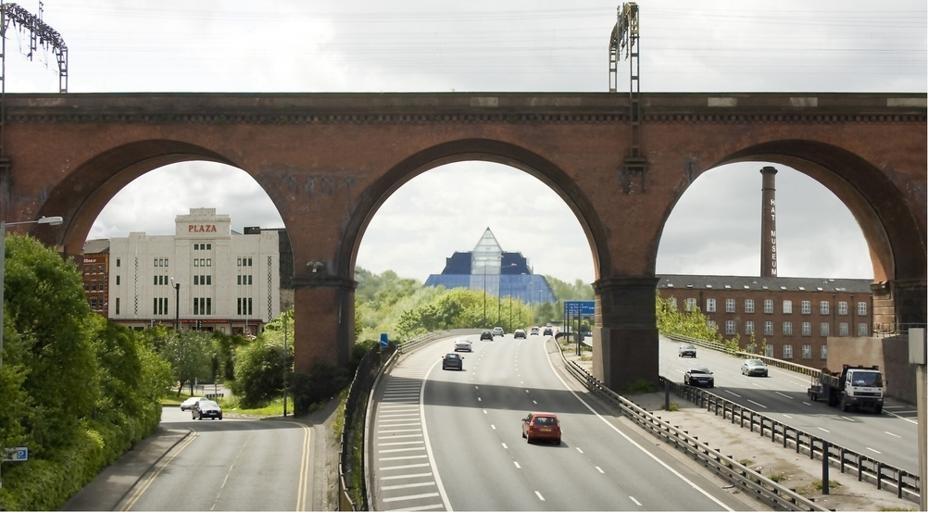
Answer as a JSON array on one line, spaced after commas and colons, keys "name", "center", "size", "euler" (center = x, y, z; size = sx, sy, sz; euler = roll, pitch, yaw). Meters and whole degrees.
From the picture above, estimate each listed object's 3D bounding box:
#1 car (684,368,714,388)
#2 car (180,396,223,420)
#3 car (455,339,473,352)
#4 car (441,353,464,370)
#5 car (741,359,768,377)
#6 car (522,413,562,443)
[{"name": "car", "center": [24.070, 12.676, 124.756], "size": [2.769, 1.717, 2.213], "euler": [4, 9, 14]}, {"name": "car", "center": [-28.533, 16.742, 131.840], "size": [2.210, 1.485, 5.066], "euler": [5, -11, -27]}, {"name": "car", "center": [-0.195, 11.444, 152.637], "size": [1.382, 0.929, 3.017], "euler": [0, 1, 2]}, {"name": "car", "center": [-1.350, 11.858, 133.674], "size": [2.019, 1.711, 1.796], "euler": [4, 9, 14]}, {"name": "car", "center": [31.704, 12.508, 133.497], "size": [2.735, 1.383, 2.778], "euler": [1, 9, -5]}, {"name": "car", "center": [6.864, 15.407, 107.846], "size": [3.471, 2.535, 1.728], "euler": [4, 10, 15]}]
